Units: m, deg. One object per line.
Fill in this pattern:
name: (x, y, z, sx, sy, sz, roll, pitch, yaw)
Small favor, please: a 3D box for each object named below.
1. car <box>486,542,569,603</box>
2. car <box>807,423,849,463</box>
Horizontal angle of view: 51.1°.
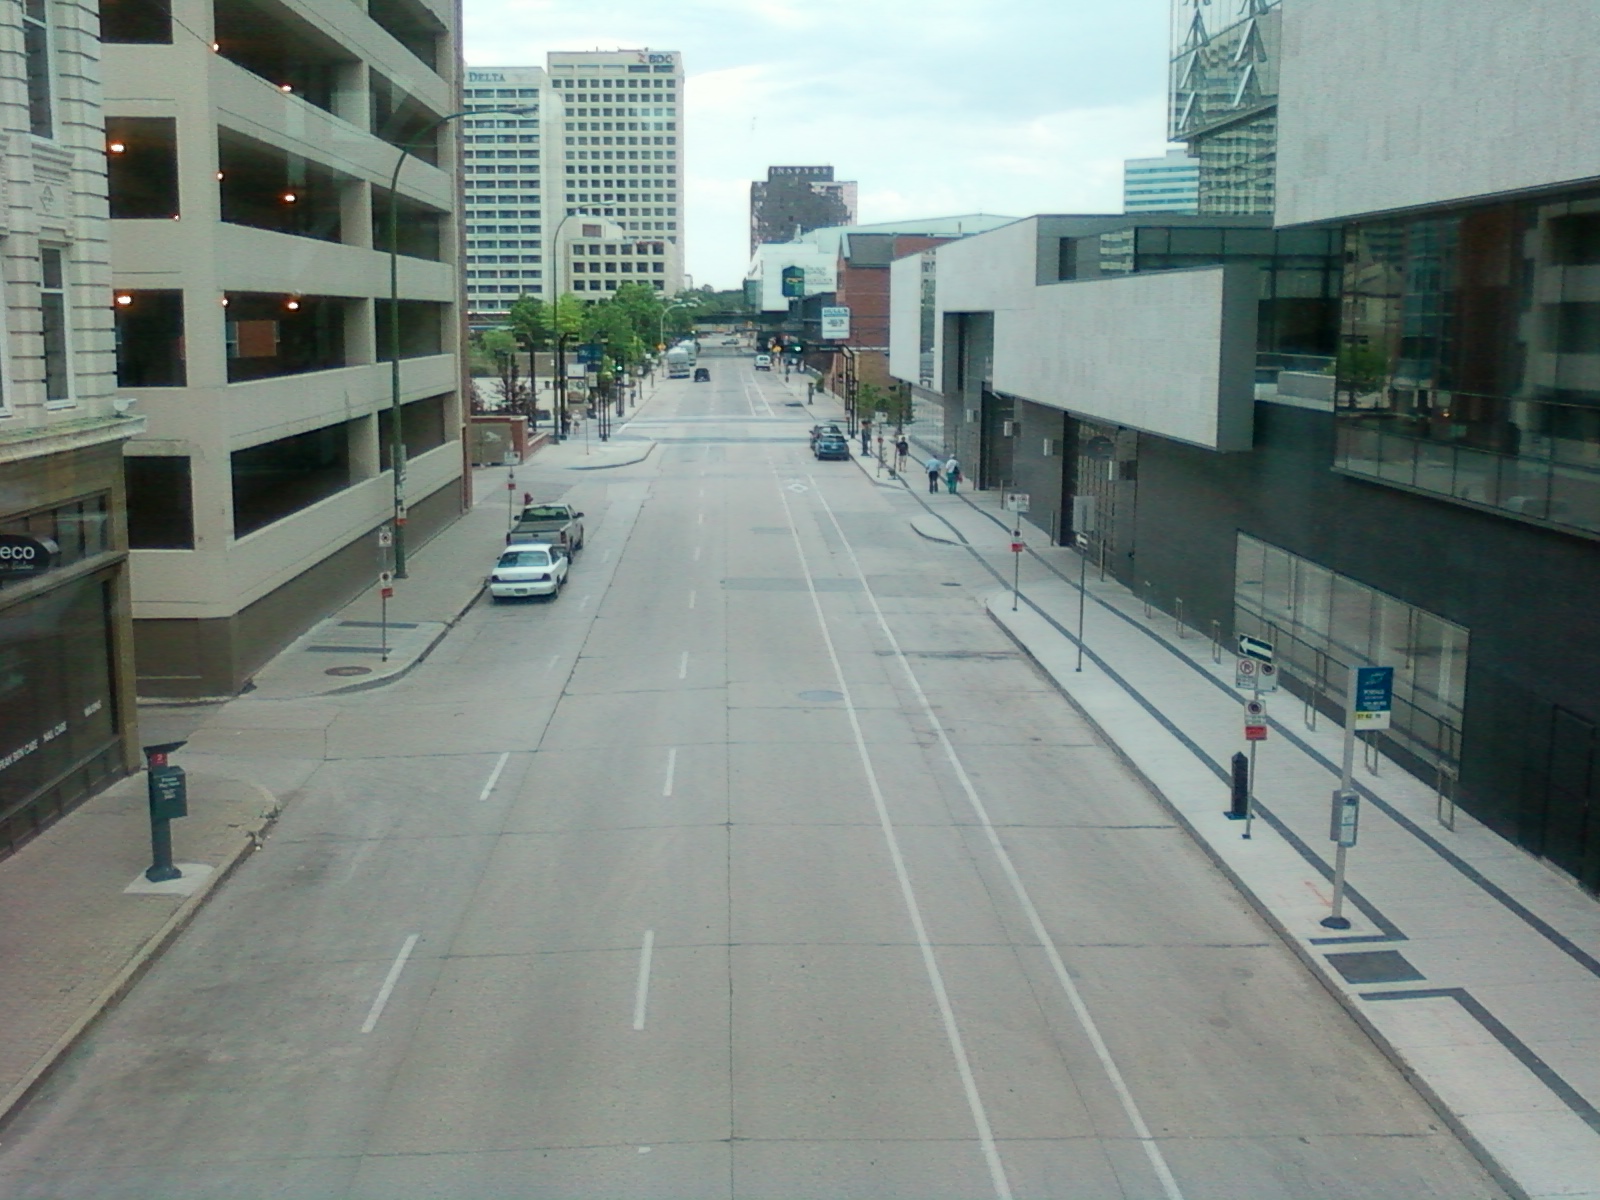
car: (-7.358, -0.784, 45.060, 1.672, 1.327, 2.263, 0, 12, 6)
car: (1.471, -7.675, 82.824, 1.549, 1.136, 3.189, -2, 12, -7)
